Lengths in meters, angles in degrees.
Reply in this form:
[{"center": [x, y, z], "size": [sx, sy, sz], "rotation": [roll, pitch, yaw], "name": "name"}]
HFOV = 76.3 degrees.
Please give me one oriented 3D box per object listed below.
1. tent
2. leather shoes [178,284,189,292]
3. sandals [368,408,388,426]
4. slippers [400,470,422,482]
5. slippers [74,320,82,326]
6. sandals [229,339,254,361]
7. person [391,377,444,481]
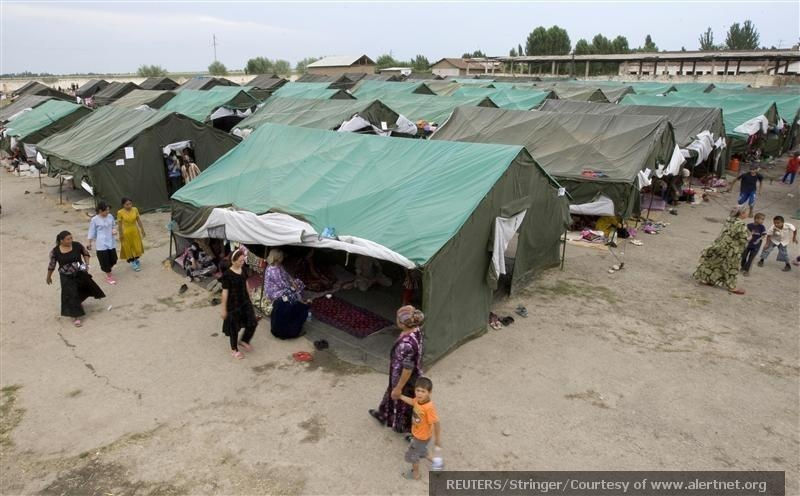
[{"center": [0.579, -1.449, 15.528], "size": [14.192, 4.374, 8.645], "rotation": [-18, 27, -41], "name": "tent"}, {"center": [-5.707, 1.089, 13.398], "size": [0.197, 0.188, 0.193], "rotation": [35, 72, 16], "name": "leather shoes"}, {"center": [-0.443, 3.285, 9.861], "size": [0.436, 0.167, 0.162], "rotation": [39, 53, 15], "name": "sandals"}, {"center": [0.182, 4.076, 9.072], "size": [0.273, 0.090, 0.143], "rotation": [7, 17, 6], "name": "slippers"}, {"center": [-7.656, 1.799, 12.050], "size": [0.095, 0.075, 0.249], "rotation": [-5, -9, -35], "name": "slippers"}, {"center": [-3.534, 2.272, 11.273], "size": [0.294, 0.166, 0.485], "rotation": [9, 19, 25], "name": "sandals"}, {"center": [0.420, 3.149, 9.068], "size": [0.678, 1.795, 0.799], "rotation": [-1, 22, 0], "name": "person"}]
